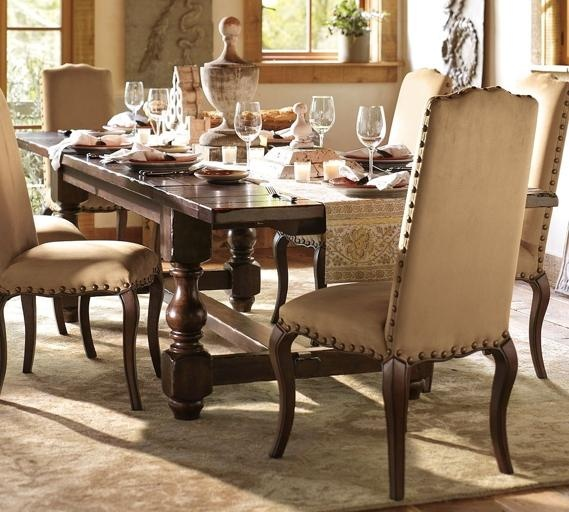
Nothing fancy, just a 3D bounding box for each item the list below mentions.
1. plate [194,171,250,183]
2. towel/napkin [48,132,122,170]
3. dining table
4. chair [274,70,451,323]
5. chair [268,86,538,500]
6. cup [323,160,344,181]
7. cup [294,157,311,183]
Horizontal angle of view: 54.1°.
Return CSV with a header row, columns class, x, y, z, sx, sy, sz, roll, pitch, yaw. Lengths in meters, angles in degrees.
class,x,y,z,sx,sy,sz,roll,pitch,yaw
plate,-0.215,-0.261,1.874,0.162,0.039,0.192,0,5,-8
towel/napkin,-0.920,-0.453,2.576,0.294,0.130,0.263,-6,12,-23
dining table,-0.036,0.088,1.951,0.610,0.365,1.384,-5,12,-29
chair,0.205,-0.126,1.844,0.499,0.633,0.442,3,1,-11
chair,0.324,0.095,1.542,0.571,0.910,0.584,-6,7,-31
cup,0.158,-0.303,2.013,0.092,0.088,0.095,0,6,0
cup,0.047,-0.316,2.044,0.090,0.083,0.080,0,13,-1
